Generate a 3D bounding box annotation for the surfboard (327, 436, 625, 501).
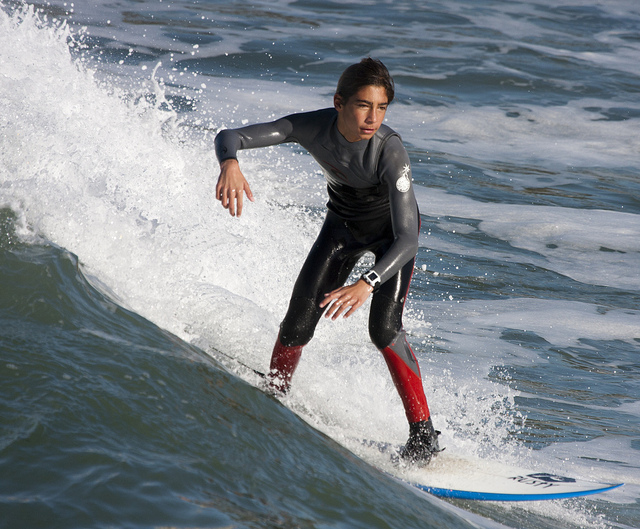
[{"bbox_3d":[1.190,1.646,8.056,1.787,0.156,0.392,10,15,-19],"label":"surfboard"}]
